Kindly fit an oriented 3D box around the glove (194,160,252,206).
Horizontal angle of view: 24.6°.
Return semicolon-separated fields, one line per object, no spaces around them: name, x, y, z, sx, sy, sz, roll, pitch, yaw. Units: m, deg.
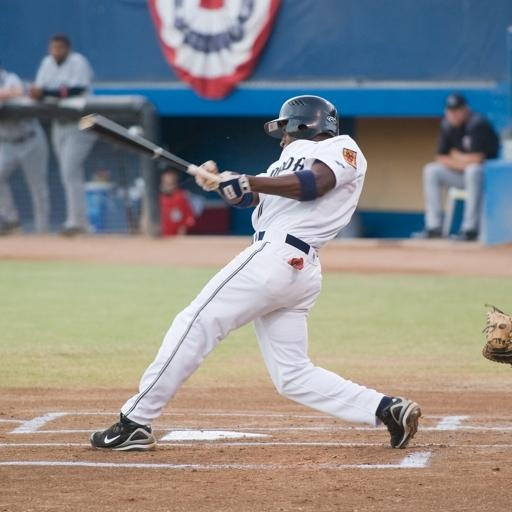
glove;-0.147;-0.346;5.808;0.287;0.233;0.354;1;8;0

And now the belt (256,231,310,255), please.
belt;0.166;-0.032;5.789;0.168;0.034;0.165;18;-2;-42

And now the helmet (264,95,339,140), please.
helmet;0.252;-0.705;6.029;0.367;0.161;0.221;3;-14;4

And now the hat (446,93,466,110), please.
hat;1.155;-0.877;6.660;0.095;0.088;0.111;1;-2;12

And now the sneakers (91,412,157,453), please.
sneakers;-0.639;0.904;5.871;0.397;0.173;0.137;1;-1;4

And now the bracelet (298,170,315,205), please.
bracelet;0.256;-0.343;5.681;0.104;0.146;0.039;1;10;-1
